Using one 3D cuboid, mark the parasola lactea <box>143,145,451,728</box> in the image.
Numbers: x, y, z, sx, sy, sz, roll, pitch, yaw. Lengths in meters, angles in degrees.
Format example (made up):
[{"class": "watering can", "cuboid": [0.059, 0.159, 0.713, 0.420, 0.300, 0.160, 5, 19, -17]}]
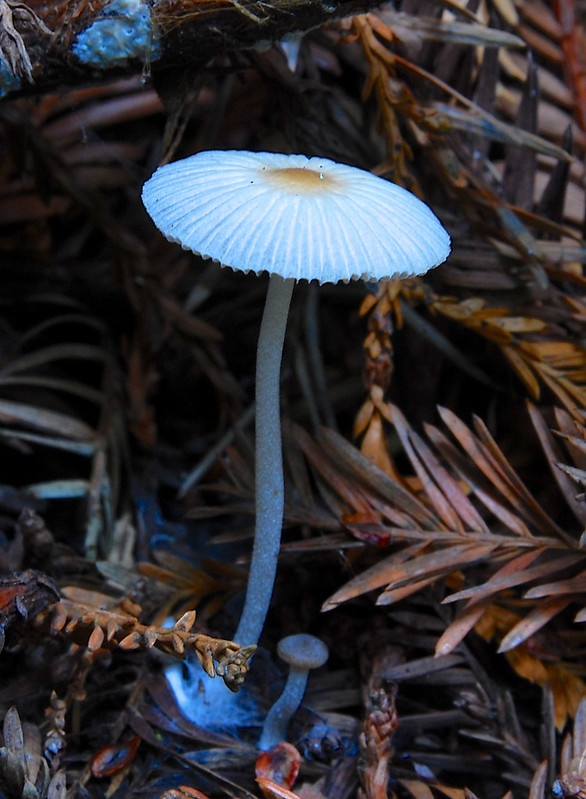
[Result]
[{"class": "parasola lactea", "cuboid": [-0.036, 0.058, 1.110, 0.291, 0.747, 0.309, 8, 0, -44]}]
